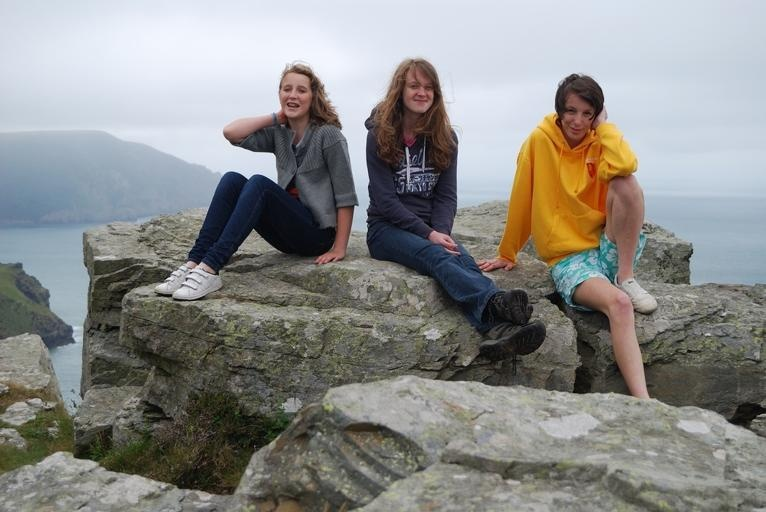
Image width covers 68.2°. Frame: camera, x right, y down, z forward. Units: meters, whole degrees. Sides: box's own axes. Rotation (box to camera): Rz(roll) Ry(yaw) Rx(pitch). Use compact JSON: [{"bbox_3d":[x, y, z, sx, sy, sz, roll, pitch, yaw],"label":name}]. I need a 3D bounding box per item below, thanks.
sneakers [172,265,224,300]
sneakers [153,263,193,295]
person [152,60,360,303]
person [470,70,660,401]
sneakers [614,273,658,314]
[{"bbox_3d":[-1.570,0.222,4.789,0.407,0.274,0.226,-2,10,-16],"label":"sneakers"},{"bbox_3d":[-1.929,0.214,5.170,0.100,0.120,0.294,27,54,37],"label":"sneakers"},{"bbox_3d":[-1.024,-0.699,5.056,1.499,2.014,0.628,-3,11,-21],"label":"person"},{"bbox_3d":[1.751,-0.291,4.899,0.629,2.457,1.556,-6,12,-34],"label":"person"},{"bbox_3d":[2.166,0.320,4.825,0.436,0.173,0.199,39,54,21],"label":"sneakers"}]
